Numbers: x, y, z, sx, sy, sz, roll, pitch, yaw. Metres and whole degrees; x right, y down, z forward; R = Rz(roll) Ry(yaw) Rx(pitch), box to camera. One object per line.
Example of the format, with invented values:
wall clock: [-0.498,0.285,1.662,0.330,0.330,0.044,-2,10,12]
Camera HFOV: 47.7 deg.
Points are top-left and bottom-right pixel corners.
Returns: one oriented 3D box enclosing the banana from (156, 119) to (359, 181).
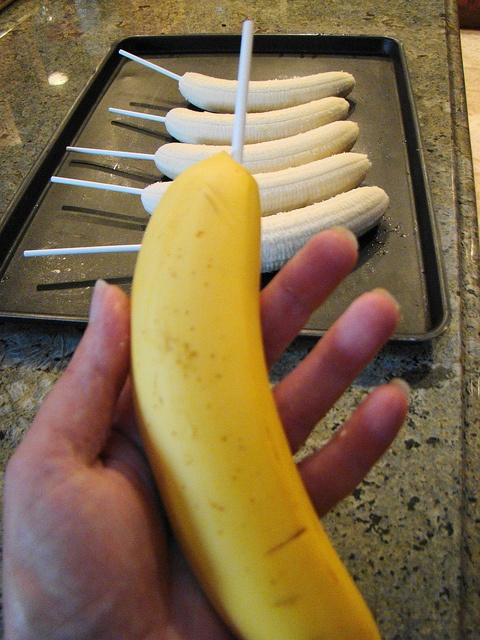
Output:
banana: [0.027,-0.284,0.831,0.276,0.071,0.090,-6,73,-1]

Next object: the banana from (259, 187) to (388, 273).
banana: [0.132,-0.107,0.715,0.223,0.066,0.070,-23,99,-16]
